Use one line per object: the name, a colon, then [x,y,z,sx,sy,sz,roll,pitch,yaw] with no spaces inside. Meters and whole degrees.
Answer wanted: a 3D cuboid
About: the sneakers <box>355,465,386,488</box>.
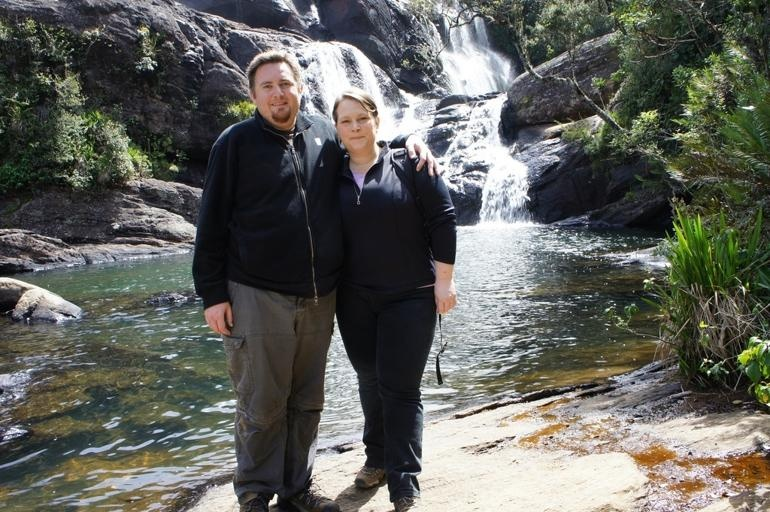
sneakers: [-0.109,1.776,4.329,0.116,0.124,0.297,-7,-15,31]
